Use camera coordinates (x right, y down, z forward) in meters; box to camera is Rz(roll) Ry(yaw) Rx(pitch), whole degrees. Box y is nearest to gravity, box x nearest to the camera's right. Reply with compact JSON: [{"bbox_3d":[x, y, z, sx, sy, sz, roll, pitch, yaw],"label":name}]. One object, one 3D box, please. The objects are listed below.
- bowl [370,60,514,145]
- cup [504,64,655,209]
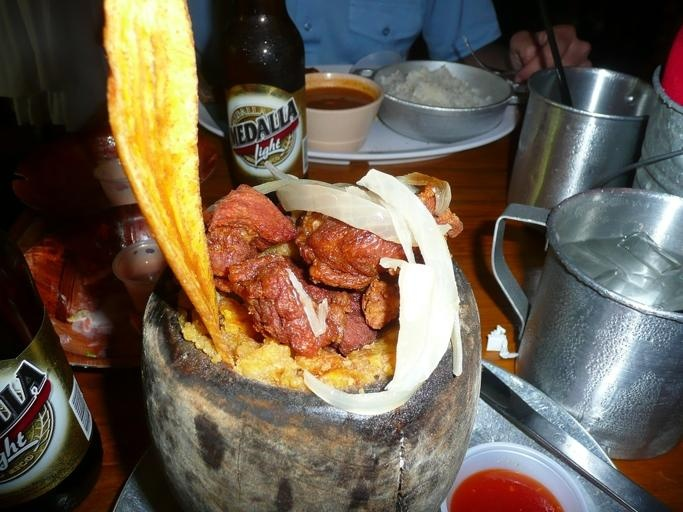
[{"bbox_3d":[0.265,-0.426,1.494,0.311,0.082,0.298,1,44,-1],"label":"bowl"},{"bbox_3d":[0.560,-0.220,1.310,0.219,0.396,0.257,-1,31,-4],"label":"cup"}]
